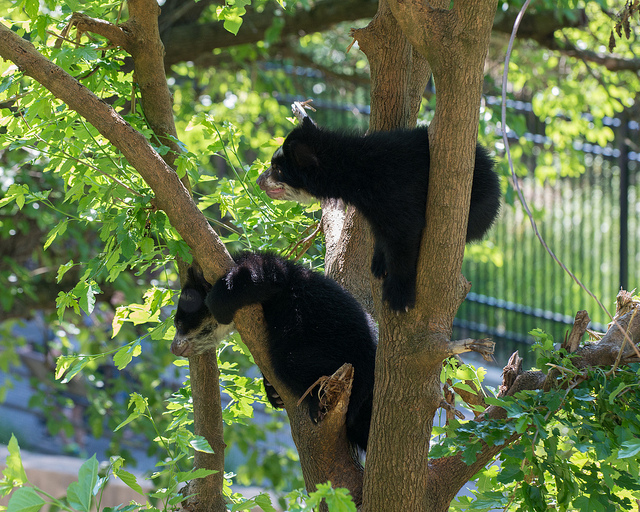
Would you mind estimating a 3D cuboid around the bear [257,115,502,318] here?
[{"bbox_3d":[0.464,-0.372,9.801,1.732,1.371,0.894,-2,13,0],"label":"bear"}]
